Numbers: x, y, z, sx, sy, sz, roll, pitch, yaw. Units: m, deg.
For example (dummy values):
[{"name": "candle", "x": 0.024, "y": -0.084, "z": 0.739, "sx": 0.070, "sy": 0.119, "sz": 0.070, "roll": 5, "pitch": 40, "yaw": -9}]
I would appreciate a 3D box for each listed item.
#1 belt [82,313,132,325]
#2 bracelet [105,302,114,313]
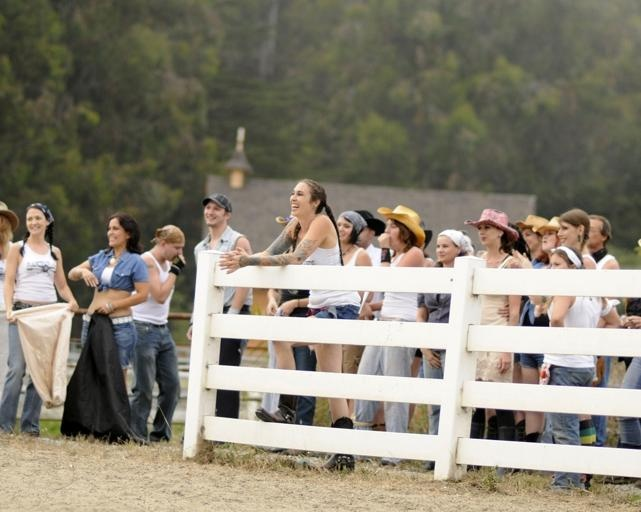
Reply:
[{"name": "belt", "x": -7.555, "y": 2.335, "z": 66.883, "sx": 1.690, "sy": 0.310, "sz": 0.239, "roll": 3, "pitch": 1, "yaw": 0}, {"name": "bracelet", "x": -7.505, "y": 1.956, "z": 66.735, "sx": 0.288, "sy": 0.340, "sz": 0.067, "roll": 2, "pitch": 1, "yaw": -13}]
